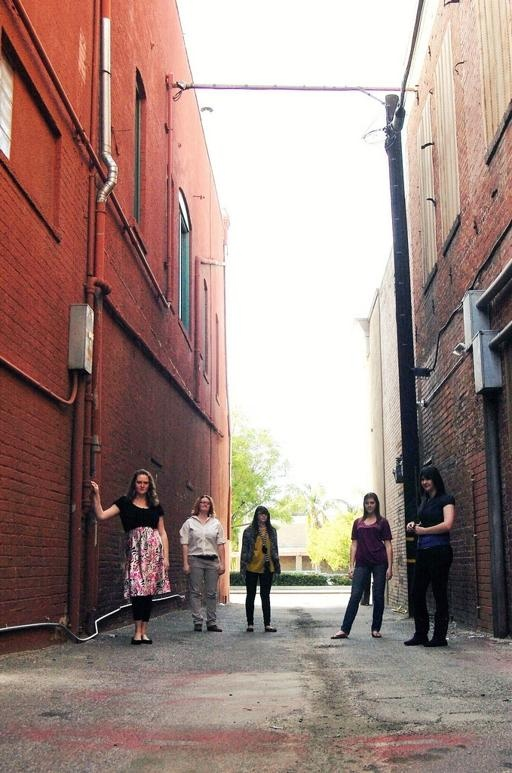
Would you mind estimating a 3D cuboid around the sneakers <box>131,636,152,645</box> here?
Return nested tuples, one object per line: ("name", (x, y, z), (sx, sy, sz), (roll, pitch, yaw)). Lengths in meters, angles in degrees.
("sneakers", (-1.262, 2.817, 6.010), (0.157, 0.089, 0.109), (-4, -9, 15))

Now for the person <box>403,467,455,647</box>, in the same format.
("person", (1.977, 1.880, 6.114), (0.568, 1.980, 0.732), (6, -14, -34))

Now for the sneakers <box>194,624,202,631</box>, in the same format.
("sneakers", (-0.841, 3.512, 7.922), (0.048, 0.139, 0.163), (4, -20, -16))

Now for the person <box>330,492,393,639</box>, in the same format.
("person", (1.464, 2.385, 7.239), (0.563, 1.959, 0.389), (-5, -42, 19))

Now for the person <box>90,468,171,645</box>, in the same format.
("person", (-1.380, 1.918, 6.158), (0.763, 1.898, 0.313), (2, -12, -16))

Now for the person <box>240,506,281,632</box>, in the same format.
("person", (0.080, 2.917, 8.825), (0.608, 2.010, 1.542), (-2, -13, 0))

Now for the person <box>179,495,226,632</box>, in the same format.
("person", (-0.822, 2.667, 8.410), (0.516, 2.233, 0.435), (-1, 9, -7))
